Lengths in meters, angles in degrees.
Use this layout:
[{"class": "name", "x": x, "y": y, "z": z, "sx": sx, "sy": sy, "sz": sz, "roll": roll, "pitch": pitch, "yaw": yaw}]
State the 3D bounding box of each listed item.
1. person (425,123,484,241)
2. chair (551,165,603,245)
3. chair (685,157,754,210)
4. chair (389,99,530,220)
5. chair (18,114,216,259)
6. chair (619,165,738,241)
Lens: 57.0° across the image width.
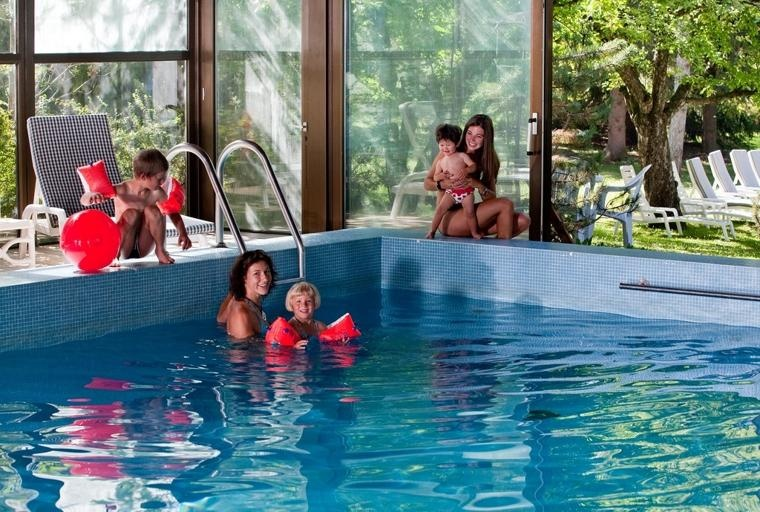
[{"class": "person", "x": 0.701, "y": -0.680, "z": 6.412, "sx": 0.497, "sy": 1.020, "sz": 0.238, "roll": 2, "pitch": 11, "yaw": 7}, {"class": "chair", "x": 2.451, "y": -0.669, "z": 8.778, "sx": 0.762, "sy": 0.955, "sz": 0.842, "roll": 10, "pitch": 16, "yaw": 35}, {"class": "chair", "x": 5.873, "y": -1.292, "z": 12.422, "sx": 1.250, "sy": 0.890, "sz": 0.655, "roll": 10, "pitch": 18, "yaw": 34}, {"class": "chair", "x": 0.598, "y": -0.978, "z": 7.208, "sx": 1.408, "sy": 1.476, "sz": 1.008, "roll": 3, "pitch": 8, "yaw": 30}, {"class": "chair", "x": -3.192, "y": -0.780, "z": 7.466, "sx": 2.035, "sy": 1.258, "sz": 1.263, "roll": 15, "pitch": 19, "yaw": 38}, {"class": "chair", "x": 5.307, "y": -0.909, "z": 12.407, "sx": 2.558, "sy": 1.684, "sz": 1.182, "roll": 3, "pitch": 10, "yaw": 28}]
